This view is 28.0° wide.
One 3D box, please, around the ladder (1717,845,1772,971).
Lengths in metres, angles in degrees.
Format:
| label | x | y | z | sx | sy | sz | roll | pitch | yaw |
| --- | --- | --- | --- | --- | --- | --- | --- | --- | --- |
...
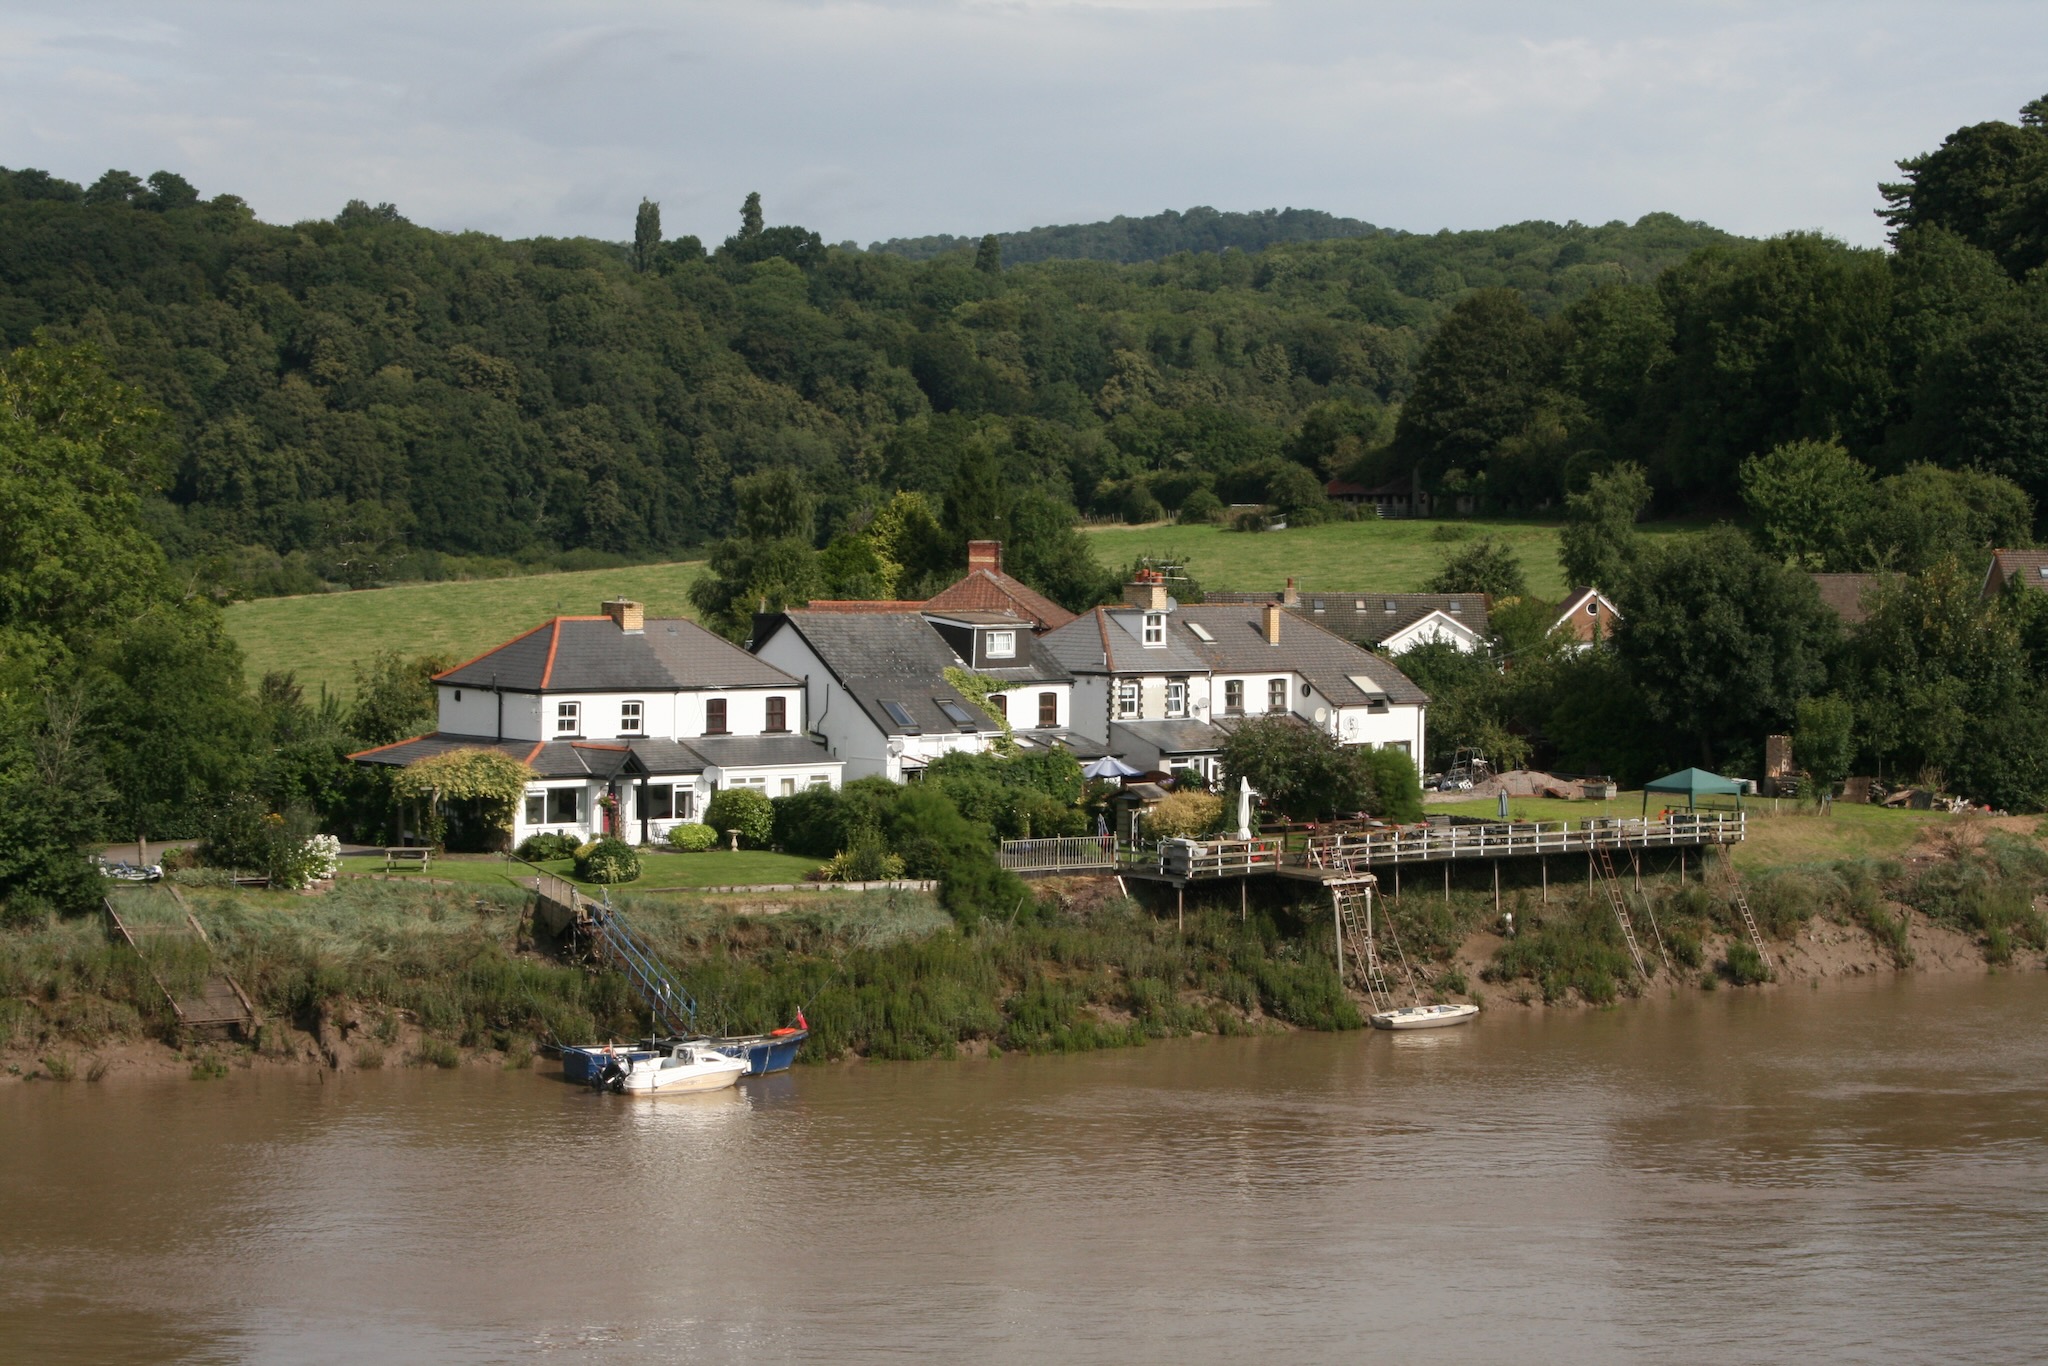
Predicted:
| label | x | y | z | sx | sy | sz | roll | pitch | yaw |
| --- | --- | --- | --- | --- | --- | --- | --- | --- | --- |
| ladder | 33.838 | 11.080 | 194.316 | 0.618 | 6.316 | 0.532 | -9 | -29 | -26 |

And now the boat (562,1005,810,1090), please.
| label | x | y | z | sx | sy | sz | roll | pitch | yaw |
| --- | --- | --- | --- | --- | --- | --- | --- | --- | --- |
| boat | -14.753 | 15.968 | 179.645 | 10.956 | 3.588 | 3.791 | -5 | 3 | -19 |
